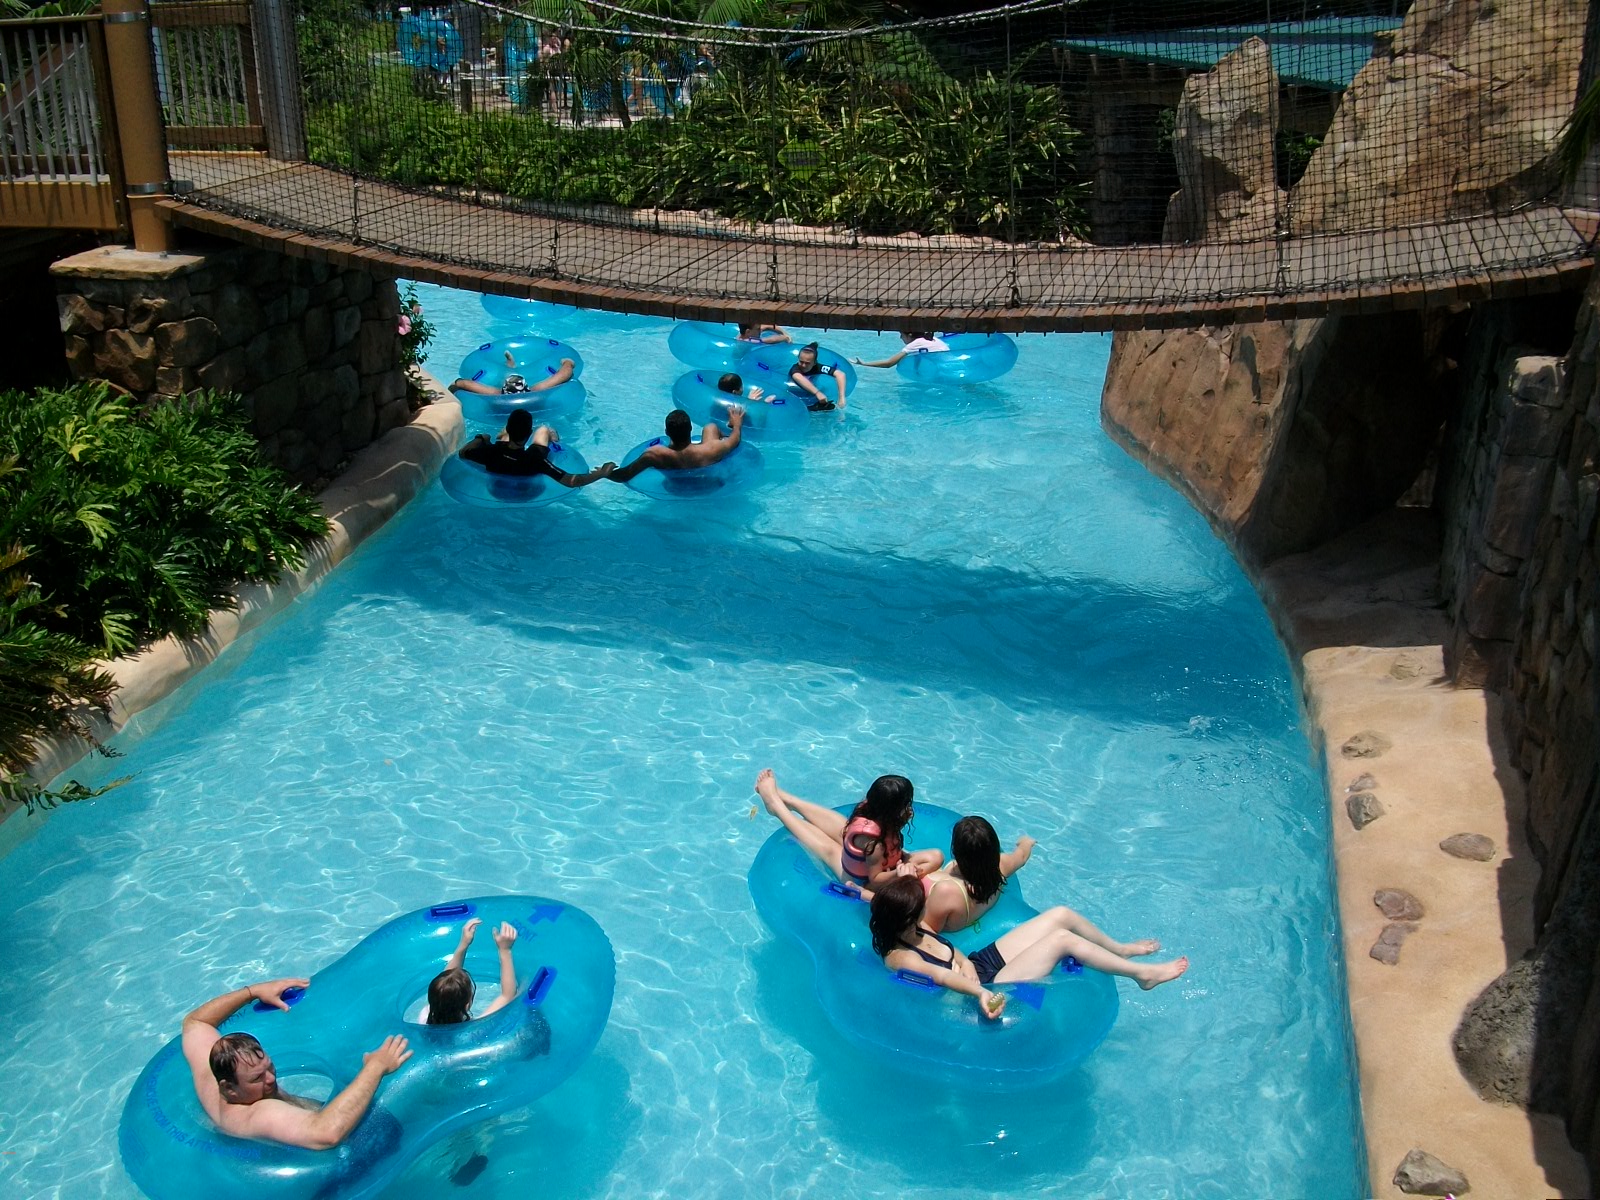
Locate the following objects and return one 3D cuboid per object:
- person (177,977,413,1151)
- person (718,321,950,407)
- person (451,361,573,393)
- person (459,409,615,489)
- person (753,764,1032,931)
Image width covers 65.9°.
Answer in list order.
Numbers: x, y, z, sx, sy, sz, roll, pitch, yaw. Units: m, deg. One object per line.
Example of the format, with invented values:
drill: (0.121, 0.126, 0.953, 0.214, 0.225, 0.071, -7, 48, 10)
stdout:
person: (-2.060, 1.758, 5.024, 0.721, 0.261, 0.556, 16, 16, 38)
person: (0.356, -2.529, 13.295, 1.342, 0.459, 1.312, -23, 41, -27)
person: (-2.918, -2.278, 12.609, 1.250, 0.260, 0.560, -4, 29, -15)
person: (-2.433, -1.297, 11.078, 1.161, 0.519, 0.831, 0, 31, 3)
person: (0.494, 1.234, 6.346, 0.970, 0.434, 0.896, 18, 31, 28)
